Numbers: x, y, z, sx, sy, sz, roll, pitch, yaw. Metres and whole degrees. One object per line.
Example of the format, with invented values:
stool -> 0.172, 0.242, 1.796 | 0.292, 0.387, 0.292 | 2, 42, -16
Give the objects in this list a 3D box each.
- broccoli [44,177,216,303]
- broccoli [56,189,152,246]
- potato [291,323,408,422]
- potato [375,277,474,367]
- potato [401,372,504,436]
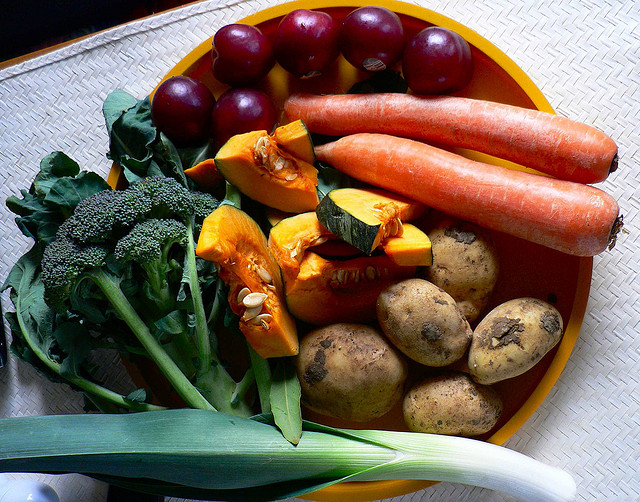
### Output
broccoli -> -0.403, -0.013, 1.414 | 0.265, 0.198, 0.289 | -4, 43, 22
broccoli -> -0.469, -0.070, 1.372 | 0.162, 0.075, 0.130 | -43, 79, 11
potato -> 0.066, 0.286, 1.466 | 0.262, 0.228, 0.209 | 5, 24, 30
potato -> 0.234, 0.153, 1.439 | 0.217, 0.159, 0.165 | 40, 65, -2
potato -> 0.292, 0.338, 1.377 | 0.194, 0.122, 0.120 | -6, 90, 2
